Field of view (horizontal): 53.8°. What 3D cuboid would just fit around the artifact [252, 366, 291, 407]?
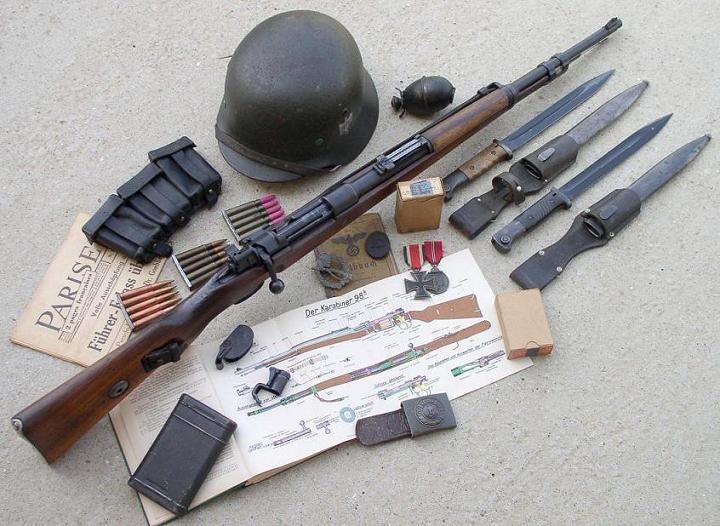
[{"bbox_3d":[-0.542,0.742,4.453,0.155,0.120,0.267,20,71,8],"label":"artifact"}]

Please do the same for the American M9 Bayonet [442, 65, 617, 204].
[{"bbox_3d":[1.204,-0.866,5.035,1.504,0.130,0.226,-38,75,-17],"label":"American M9 Bayonet"}]

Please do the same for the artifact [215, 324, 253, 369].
[{"bbox_3d":[-0.785,0.517,4.469,0.155,0.101,0.291,35,66,8],"label":"artifact"}]
